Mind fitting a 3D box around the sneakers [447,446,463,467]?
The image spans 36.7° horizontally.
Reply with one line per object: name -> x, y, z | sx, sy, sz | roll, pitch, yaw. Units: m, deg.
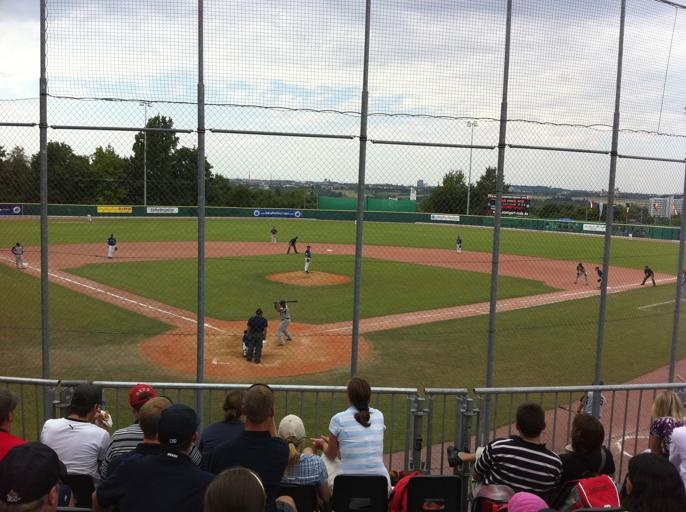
sneakers -> 1.673, 2.997, 15.537 | 0.188, 0.210, 0.310 | 1, 18, -4

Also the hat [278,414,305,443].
hat -> -0.754, 2.506, 15.082 | 0.378, 0.353, 0.363 | 3, -4, -6

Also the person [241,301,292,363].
person -> -2.001, 1.660, 23.492 | 0.617, 1.126, 2.098 | 5, 13, 13

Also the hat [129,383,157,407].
hat -> -2.976, 2.053, 15.306 | 0.286, 0.455, 0.219 | -10, 28, -43
